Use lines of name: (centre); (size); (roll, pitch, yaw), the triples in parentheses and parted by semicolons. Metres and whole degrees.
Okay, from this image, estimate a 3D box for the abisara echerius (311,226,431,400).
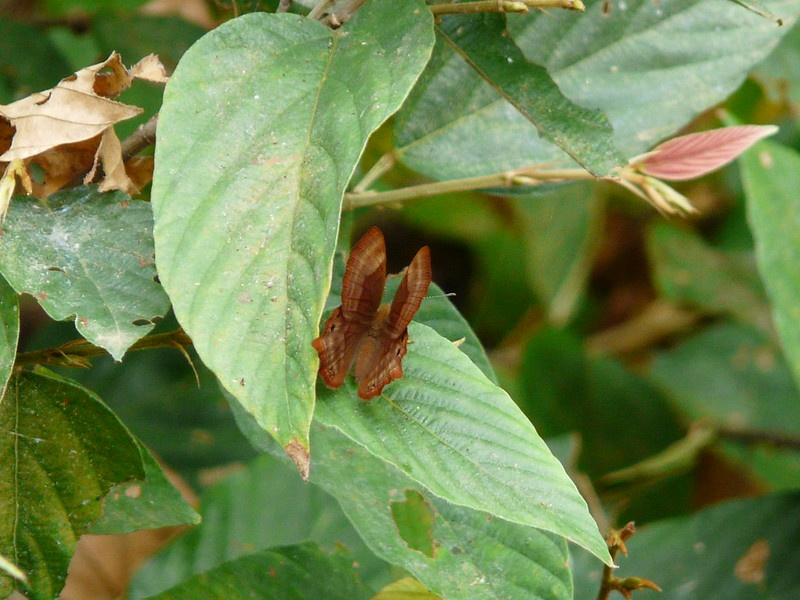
abisara echerius: (-0.054, 0.027, 1.773); (0.277, 0.274, 0.327); (2, 21, 7)
